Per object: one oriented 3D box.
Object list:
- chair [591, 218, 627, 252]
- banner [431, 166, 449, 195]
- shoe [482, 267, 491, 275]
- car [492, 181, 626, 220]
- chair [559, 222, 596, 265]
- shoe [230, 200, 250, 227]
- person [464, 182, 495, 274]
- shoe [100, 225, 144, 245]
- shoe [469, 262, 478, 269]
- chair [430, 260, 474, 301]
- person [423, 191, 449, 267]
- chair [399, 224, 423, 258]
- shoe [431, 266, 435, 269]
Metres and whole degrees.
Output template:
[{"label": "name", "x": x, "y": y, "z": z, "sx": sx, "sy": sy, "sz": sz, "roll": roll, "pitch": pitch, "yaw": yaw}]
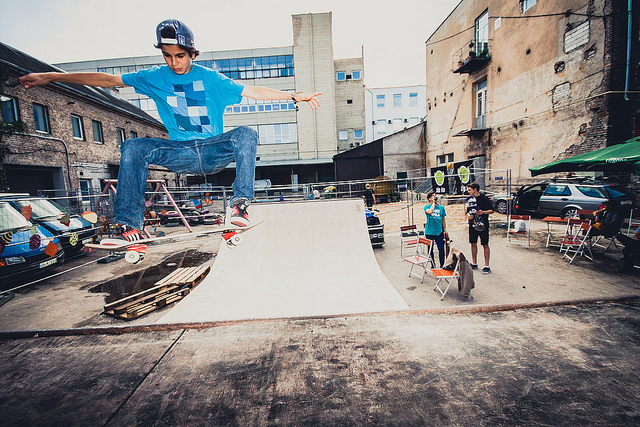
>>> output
[{"label": "chair", "x": 9.601, "y": 0.742, "z": 13.490, "sx": 0.735, "sy": 0.881, "sz": 2.292, "roll": 0, "pitch": 7, "yaw": 40}, {"label": "banner", "x": 6.191, "y": -1.658, "z": 20.805, "sx": 0.864, "sy": 1.530, "sz": 5.268, "roll": -3, "pitch": 5, "yaw": 16}, {"label": "shoe", "x": 5.011, "y": 1.701, "z": 12.122, "sx": 0.366, "sy": 0.196, "sz": 0.141, "roll": -7, "pitch": 6, "yaw": -28}, {"label": "car", "x": 9.345, "y": -0.595, "z": 15.840, "sx": 1.992, "sy": 1.111, "sz": 3.370, "roll": -8, "pitch": 10, "yaw": -31}, {"label": "chair", "x": 8.243, "y": 0.893, "z": 12.857, "sx": 0.875, "sy": 1.271, "sz": 1.474, "roll": -1, "pitch": 7, "yaw": 35}, {"label": "shoe", "x": -1.765, "y": 0.012, "z": 8.873, "sx": 0.462, "sy": 0.583, "sz": 0.317, "roll": -7, "pitch": 6, "yaw": -23}, {"label": "person", "x": 4.876, "y": 0.425, "z": 12.367, "sx": 0.771, "sy": 2.703, "sz": 0.936, "roll": -2, "pitch": 7, "yaw": 26}, {"label": "shoe", "x": -4.383, "y": 0.503, "z": 8.981, "sx": 0.828, "sy": 0.351, "sz": 0.361, "roll": 3, "pitch": -7, "yaw": -14}, {"label": "shoe", "x": 4.696, "y": 1.623, "z": 12.453, "sx": 0.314, "sy": 0.134, "sz": 0.123, "roll": 3, "pitch": 2, "yaw": 6}, {"label": "chair", "x": 3.574, "y": 1.589, "z": 11.240, "sx": 0.991, "sy": 1.246, "sz": 0.778, "roll": -8, "pitch": 10, "yaw": 5}, {"label": "person", "x": 3.532, "y": 0.530, "z": 12.316, "sx": 0.669, "sy": 2.323, "sz": 0.858, "roll": -3, "pitch": 6, "yaw": 17}, {"label": "chair", "x": 3.140, "y": 0.948, "z": 13.922, "sx": 0.614, "sy": 0.973, "sz": 0.683, "roll": -8, "pitch": 14, "yaw": 0}, {"label": "shoe", "x": 3.513, "y": 1.683, "z": 12.582, "sx": 0.069, "sy": 0.069, "sz": 0.128, "roll": 2, "pitch": -11, "yaw": 17}]
